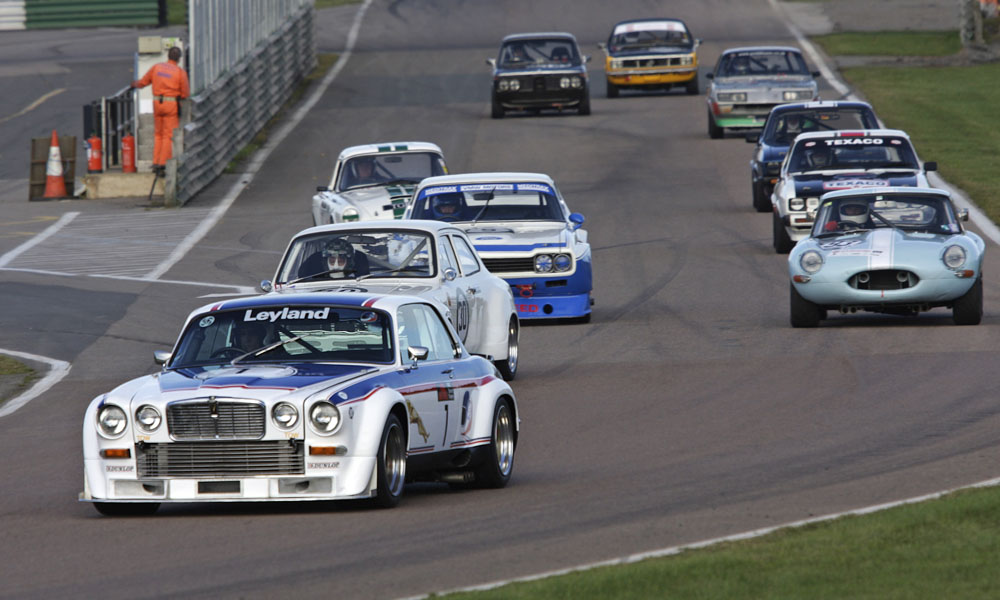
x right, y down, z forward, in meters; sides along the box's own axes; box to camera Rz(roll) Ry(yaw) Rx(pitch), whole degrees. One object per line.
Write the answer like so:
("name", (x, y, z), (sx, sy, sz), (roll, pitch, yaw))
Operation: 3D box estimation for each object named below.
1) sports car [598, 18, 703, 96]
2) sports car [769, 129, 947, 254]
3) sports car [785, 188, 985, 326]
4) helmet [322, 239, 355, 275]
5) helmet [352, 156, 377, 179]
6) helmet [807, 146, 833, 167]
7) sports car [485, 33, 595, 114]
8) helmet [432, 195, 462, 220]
("sports car", (4.148, -6.626, 46.266), (2.290, 1.704, 4.672), (2, 9, 9))
("sports car", (5.830, -1.909, 29.003), (2.070, 1.766, 4.933), (2, 12, 10))
("sports car", (5.782, -0.884, 25.808), (2.800, 1.529, 4.602), (-1, 12, 14))
("helmet", (-2.014, -0.529, 21.329), (0.350, 0.368, 0.417), (-1, -4, 0))
("helmet", (-2.323, -2.268, 29.275), (0.320, 0.349, 0.343), (-1, -9, 0))
("helmet", (5.551, -2.456, 29.401), (0.311, 0.348, 0.343), (0, 13, 3))
("sports car", (1.001, -5.707, 43.141), (2.237, 1.707, 4.265), (1, 9, 3))
("helmet", (-0.821, -1.422, 26.205), (0.364, 0.397, 0.401), (-1, 19, -2))
